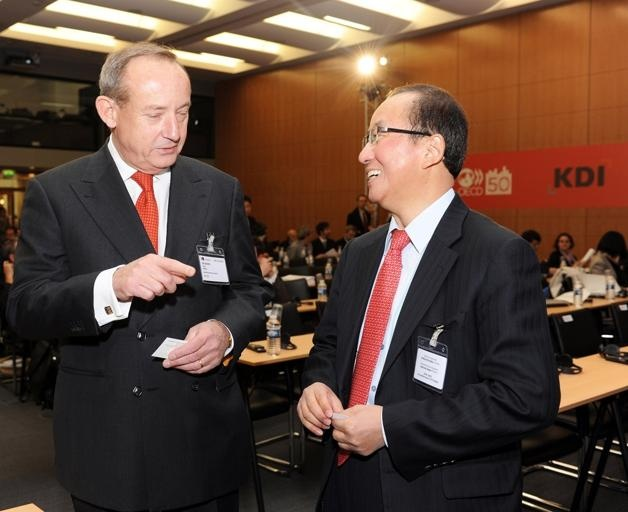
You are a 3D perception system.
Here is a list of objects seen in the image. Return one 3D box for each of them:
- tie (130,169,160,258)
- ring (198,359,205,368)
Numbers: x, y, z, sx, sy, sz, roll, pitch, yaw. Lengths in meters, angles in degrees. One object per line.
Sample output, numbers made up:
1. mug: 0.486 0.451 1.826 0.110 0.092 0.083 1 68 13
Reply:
1. tie: -0.503 -0.130 1.522 0.081 0.260 0.024 1 -19 -32
2. ring: -0.317 0.304 1.416 0.016 0.033 0.018 2 -6 0
